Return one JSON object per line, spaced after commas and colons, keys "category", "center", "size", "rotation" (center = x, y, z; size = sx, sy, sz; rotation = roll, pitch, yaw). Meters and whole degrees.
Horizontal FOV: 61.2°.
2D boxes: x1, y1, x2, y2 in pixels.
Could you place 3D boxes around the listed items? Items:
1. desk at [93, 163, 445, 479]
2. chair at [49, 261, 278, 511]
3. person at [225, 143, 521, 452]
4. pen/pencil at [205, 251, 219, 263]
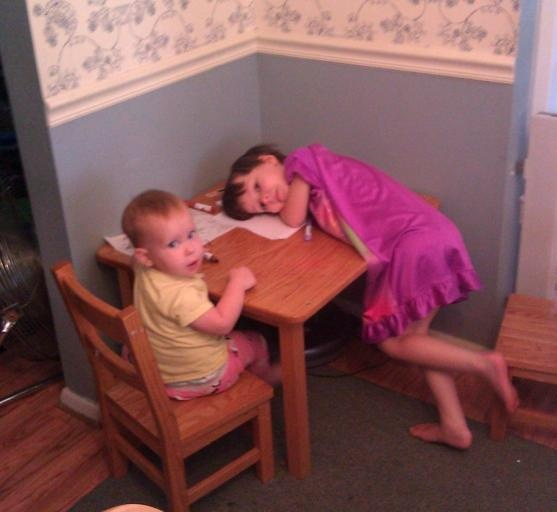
{"category": "desk", "center": [-0.039, 0.106, 1.399], "size": [0.712, 0.582, 0.614], "rotation": [25, 49, 30]}
{"category": "chair", "center": [-0.267, 0.326, 1.149], "size": [0.294, 0.573, 0.313], "rotation": [28, 47, 35]}
{"category": "person", "center": [0.289, 0.112, 1.488], "size": [0.865, 0.996, 0.448], "rotation": [-5, 8, 34]}
{"category": "pen/pencil", "center": [-0.175, 0.003, 1.237], "size": [0.022, 0.008, 0.022], "rotation": [28, 38, 33]}
